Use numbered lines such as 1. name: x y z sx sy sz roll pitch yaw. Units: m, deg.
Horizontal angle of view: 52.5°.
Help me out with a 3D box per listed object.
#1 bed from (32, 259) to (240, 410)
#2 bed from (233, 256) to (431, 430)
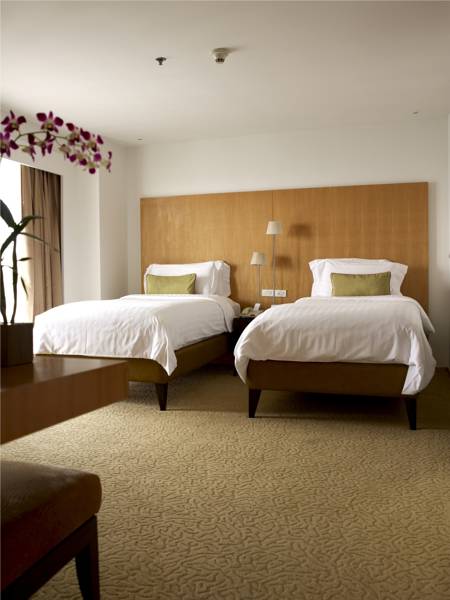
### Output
1. bed: -0.508 0.219 3.767 0.970 0.802 1.469 0 0 21
2. bed: 0.962 0.162 3.525 1.224 0.945 1.917 -2 1 21
